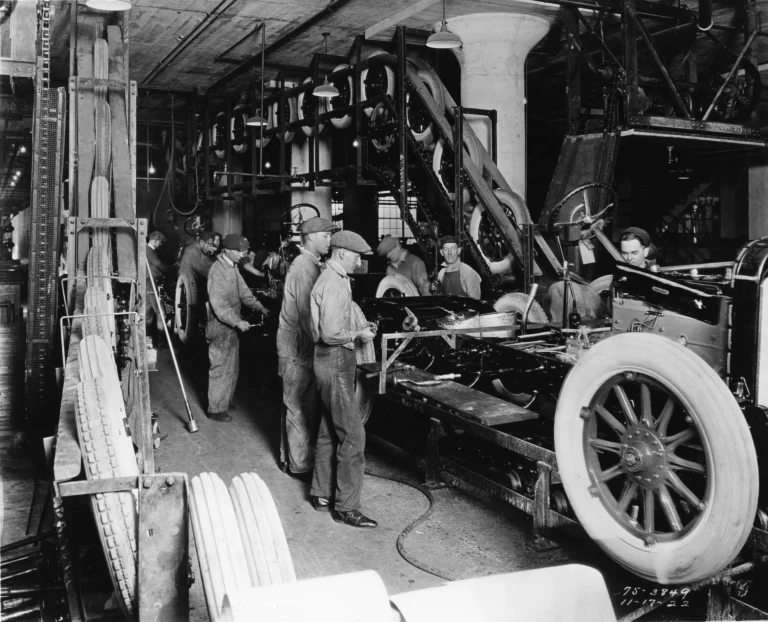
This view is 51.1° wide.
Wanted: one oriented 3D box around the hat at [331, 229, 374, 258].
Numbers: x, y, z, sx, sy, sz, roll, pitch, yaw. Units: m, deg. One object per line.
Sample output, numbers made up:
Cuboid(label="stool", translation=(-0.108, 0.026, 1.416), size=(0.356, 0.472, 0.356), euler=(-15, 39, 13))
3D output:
Cuboid(label="hat", translation=(-0.252, -0.527, 6.238), size=(0.232, 0.136, 0.189), euler=(7, 10, -9))

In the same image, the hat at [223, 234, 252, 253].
Cuboid(label="hat", translation=(-1.633, -0.754, 8.915), size=(0.273, 0.208, 0.295), euler=(-5, 11, -17))

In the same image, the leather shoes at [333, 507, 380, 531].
Cuboid(label="leather shoes", translation=(-0.207, 1.574, 6.161), size=(0.337, 0.156, 0.137), euler=(4, -1, 23))

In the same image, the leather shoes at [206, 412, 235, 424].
Cuboid(label="leather shoes", translation=(-1.786, 1.155, 8.735), size=(0.262, 0.141, 0.112), euler=(-1, -2, 5))

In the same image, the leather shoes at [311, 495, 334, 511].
Cuboid(label="leather shoes", translation=(-0.506, 1.525, 6.461), size=(0.070, 0.091, 0.196), euler=(2, 5, -20))

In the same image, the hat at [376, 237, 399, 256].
Cuboid(label="hat", translation=(0.060, -0.758, 9.583), size=(0.226, 0.238, 0.273), euler=(-2, 10, -2))

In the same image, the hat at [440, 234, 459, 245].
Cuboid(label="hat", translation=(0.768, -0.817, 9.108), size=(0.181, 0.149, 0.183), euler=(7, 9, 44))

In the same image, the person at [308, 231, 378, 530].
Cuboid(label="person", translation=(-0.310, 0.500, 6.235), size=(0.458, 2.179, 0.694), euler=(-5, 10, -27))
